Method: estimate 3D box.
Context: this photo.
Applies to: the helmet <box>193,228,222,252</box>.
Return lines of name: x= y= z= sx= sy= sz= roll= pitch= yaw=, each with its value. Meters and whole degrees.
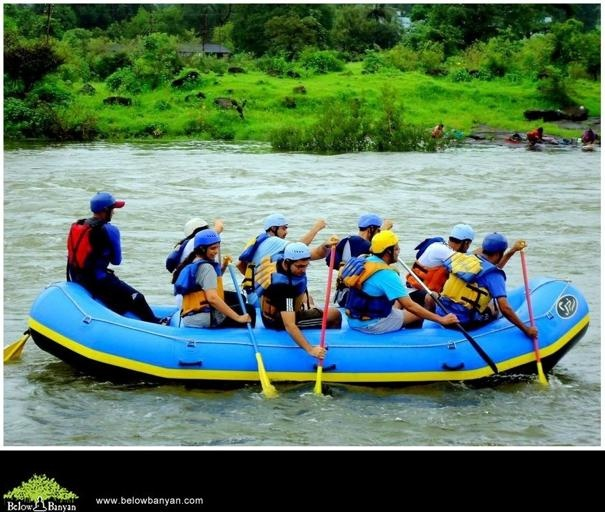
helmet: x=-1.347 y=-0.237 z=15.785 sx=0.350 sy=0.194 sz=0.252 roll=-19 pitch=7 yaw=16

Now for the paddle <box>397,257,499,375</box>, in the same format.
paddle: x=2.143 y=0.917 z=16.129 sx=2.337 sy=0.250 sz=0.133 roll=45 pitch=17 yaw=11

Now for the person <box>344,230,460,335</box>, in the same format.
person: x=1.425 y=0.435 z=16.236 sx=0.843 sy=1.053 sz=1.248 roll=-27 pitch=39 yaw=-28

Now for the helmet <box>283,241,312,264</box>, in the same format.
helmet: x=-0.067 y=-0.046 z=15.590 sx=0.354 sy=0.242 sz=0.238 roll=13 pitch=6 yaw=2

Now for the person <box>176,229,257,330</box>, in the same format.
person: x=-1.293 y=0.316 z=16.020 sx=1.082 sy=1.451 sz=0.719 roll=-1 pitch=11 yaw=-4

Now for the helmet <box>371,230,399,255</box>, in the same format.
helmet: x=1.156 y=-0.195 z=15.941 sx=0.422 sy=0.224 sz=0.280 roll=-12 pitch=36 yaw=11

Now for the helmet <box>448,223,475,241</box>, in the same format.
helmet: x=2.359 y=-0.358 z=16.543 sx=0.394 sy=0.186 sz=0.252 roll=9 pitch=7 yaw=6

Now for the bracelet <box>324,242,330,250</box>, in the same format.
bracelet: x=0.363 y=-0.161 z=16.486 sx=0.090 sy=0.077 sz=0.087 roll=2 pitch=6 yaw=6

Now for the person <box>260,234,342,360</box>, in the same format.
person: x=-0.039 y=0.639 z=16.186 sx=1.115 sy=1.250 sz=1.473 roll=-8 pitch=43 yaw=-21

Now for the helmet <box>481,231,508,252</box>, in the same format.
helmet: x=2.776 y=-0.202 z=16.102 sx=0.352 sy=0.281 sz=0.235 roll=0 pitch=10 yaw=-2

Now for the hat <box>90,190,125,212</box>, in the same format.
hat: x=-2.843 y=-0.796 z=16.432 sx=0.492 sy=0.229 sz=0.288 roll=-12 pitch=22 yaw=-22

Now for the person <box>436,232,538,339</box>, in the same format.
person: x=2.687 y=0.483 z=16.507 sx=1.046 sy=1.452 sz=1.013 roll=-15 pitch=46 yaw=-33

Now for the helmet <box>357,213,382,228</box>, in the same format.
helmet: x=1.036 y=-0.542 z=16.877 sx=0.367 sy=0.156 sz=0.229 roll=-3 pitch=10 yaw=-22
